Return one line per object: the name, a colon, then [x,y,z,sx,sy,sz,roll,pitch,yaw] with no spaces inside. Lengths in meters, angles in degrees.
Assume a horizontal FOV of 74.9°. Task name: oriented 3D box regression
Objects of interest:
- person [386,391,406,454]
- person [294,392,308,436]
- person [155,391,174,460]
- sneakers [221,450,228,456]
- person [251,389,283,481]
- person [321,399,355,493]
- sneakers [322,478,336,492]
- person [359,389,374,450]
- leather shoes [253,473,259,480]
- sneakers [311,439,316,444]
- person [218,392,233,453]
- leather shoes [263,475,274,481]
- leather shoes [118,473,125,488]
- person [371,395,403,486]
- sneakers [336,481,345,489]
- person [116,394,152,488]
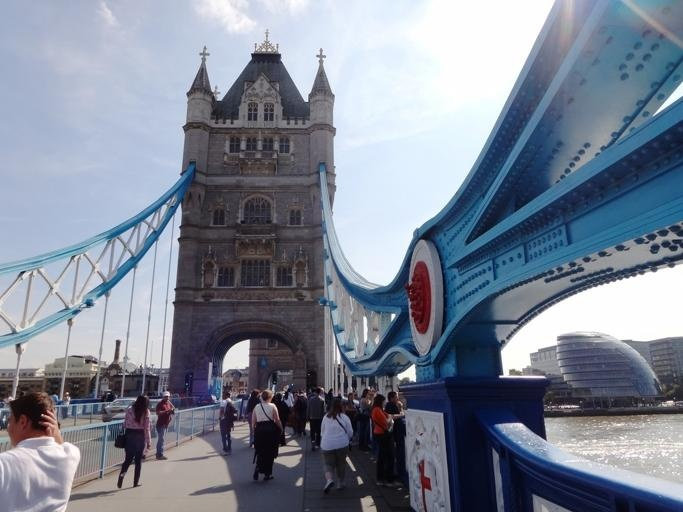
person: [0.772,2.919,7.919,0.326,1.054,0.304,-1,8,11]
person: [-1.364,4.902,13.881,0.329,1.376,0.865,2,-12,-8]
person: [-3.866,3.813,10.158,0.346,1.365,1.028,4,-13,-19]
sneakers: [-2.688,4.652,10.574,0.174,0.129,0.063,13,-19,-27]
person: [-1.373,3.245,8.174,0.459,1.538,0.553,3,-12,-11]
person: [-0.160,3.052,7.294,0.475,1.423,0.439,3,-12,-15]
sneakers: [-0.270,3.653,7.082,0.123,0.147,0.328,8,-56,-22]
person: [0.404,4.138,11.346,0.268,1.442,0.507,0,-12,2]
leather shoes: [-1.492,3.867,7.876,0.080,0.155,0.201,3,-13,-12]
sneakers: [-0.787,4.630,11.103,0.054,0.131,0.157,7,-14,-31]
person: [-2.706,4.004,10.901,0.312,1.449,1.091,3,-13,-14]
leather shoes: [-1.293,3.957,7.982,0.184,0.084,0.063,1,-4,-30]
leather shoes: [-3.422,3.654,7.303,0.079,0.226,0.274,5,-14,-23]
person: [0.586,3.065,7.507,0.431,1.430,0.821,0,-12,4]
sneakers: [-0.110,3.729,7.301,0.132,0.113,0.211,1,-13,-1]
person: [-3.330,3.101,7.574,0.361,1.431,0.533,5,-13,-22]
